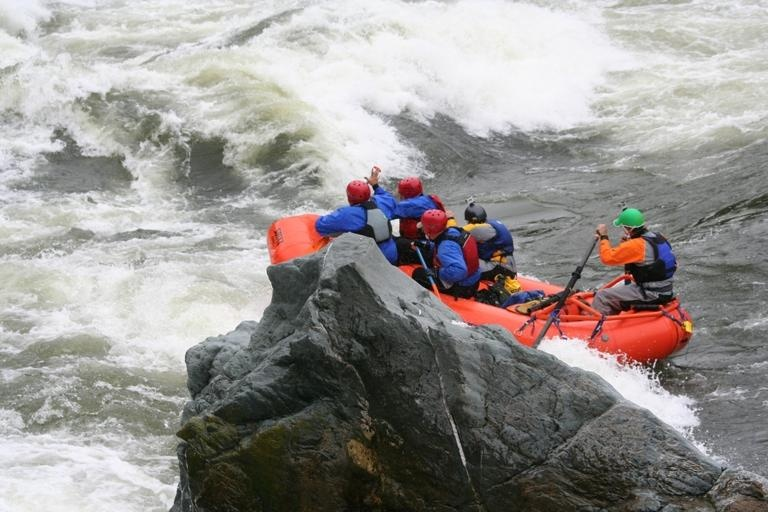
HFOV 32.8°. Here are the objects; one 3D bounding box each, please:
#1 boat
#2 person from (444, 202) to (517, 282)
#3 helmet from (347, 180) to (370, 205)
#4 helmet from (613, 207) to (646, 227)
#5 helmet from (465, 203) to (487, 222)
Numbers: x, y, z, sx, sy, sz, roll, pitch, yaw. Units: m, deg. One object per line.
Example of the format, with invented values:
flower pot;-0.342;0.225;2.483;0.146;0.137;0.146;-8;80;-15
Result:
boat;1.892;1.377;28.366;8.848;1.243;3.405;12;19;6
person;2.135;-0.239;28.635;1.777;1.894;0.850;14;63;34
helmet;-0.615;-1.412;28.213;0.552;0.453;0.563;-12;34;-14
helmet;5.226;-0.836;27.800;0.632;0.285;0.488;19;24;37
helmet;2.001;-0.930;28.486;0.446;0.397;0.456;-12;40;-6
